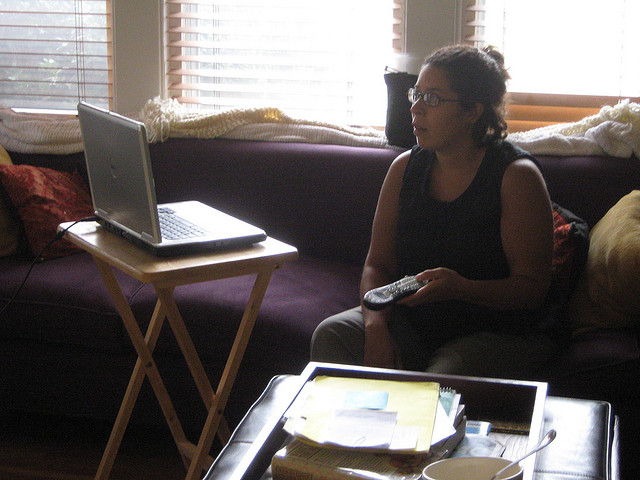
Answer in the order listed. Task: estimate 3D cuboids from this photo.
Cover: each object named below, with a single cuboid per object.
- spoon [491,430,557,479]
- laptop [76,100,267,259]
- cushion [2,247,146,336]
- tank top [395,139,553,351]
[{"bbox_3d":[0.360,0.382,0.987,0.148,0.022,0.022,-30,16,-24],"label":"spoon"},{"bbox_3d":[-0.415,-0.179,1.531,0.337,0.336,0.419,-9,21,-37],"label":"laptop"},{"bbox_3d":[-0.911,0.187,1.958,0.403,0.104,0.403,7,11,10],"label":"cushion"},{"bbox_3d":[0.468,0.001,1.810,0.386,0.711,0.525,-3,5,-22],"label":"tank top"}]
